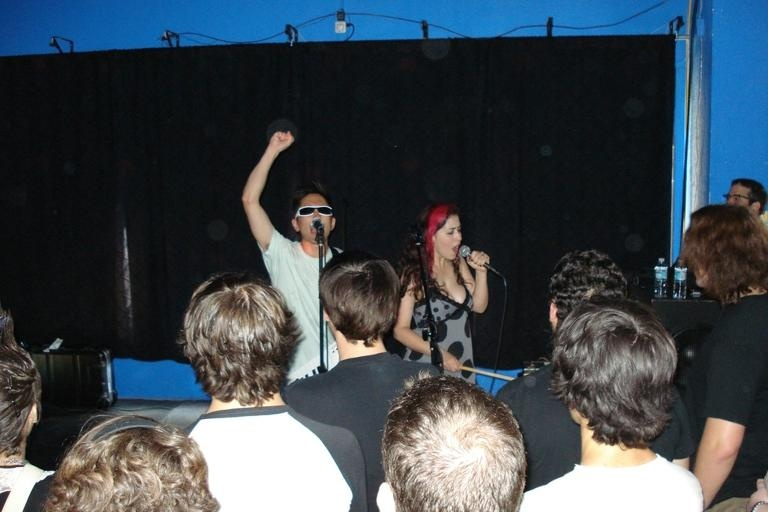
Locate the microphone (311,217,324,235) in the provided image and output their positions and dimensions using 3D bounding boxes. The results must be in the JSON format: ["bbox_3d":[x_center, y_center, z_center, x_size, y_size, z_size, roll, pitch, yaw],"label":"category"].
[{"bbox_3d":[-0.446,-0.204,4.476,0.071,0.055,0.106,3,-36,1],"label":"microphone"}]

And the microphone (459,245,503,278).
[{"bbox_3d":[0.730,0.047,5.005,0.289,0.080,0.086,41,30,16],"label":"microphone"}]
